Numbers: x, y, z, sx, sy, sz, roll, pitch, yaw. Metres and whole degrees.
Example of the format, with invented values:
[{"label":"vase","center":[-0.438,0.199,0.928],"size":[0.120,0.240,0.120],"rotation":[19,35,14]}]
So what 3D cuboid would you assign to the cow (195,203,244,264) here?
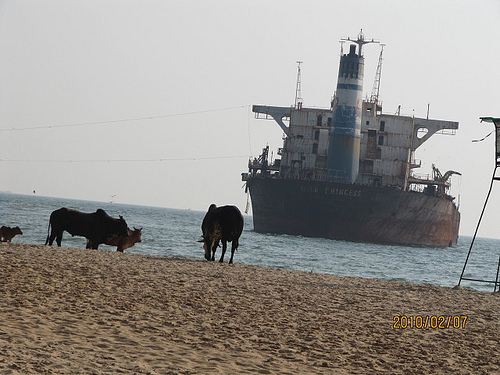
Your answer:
[{"label":"cow","center":[-1.145,1.696,33.426],"size":[1.626,2.228,0.934],"rotation":[11,11,33]}]

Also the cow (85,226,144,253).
[{"label":"cow","center":[-5.061,2.086,34.956],"size":[1.848,1.085,1.434],"rotation":[-2,6,4]}]

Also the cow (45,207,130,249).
[{"label":"cow","center":[-6.378,1.725,34.262],"size":[3.408,1.957,0.844],"rotation":[8,-2,-1]}]

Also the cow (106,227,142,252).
[{"label":"cow","center":[-4.786,2.051,34.441],"size":[1.718,1.181,0.560],"rotation":[-6,21,-41]}]
